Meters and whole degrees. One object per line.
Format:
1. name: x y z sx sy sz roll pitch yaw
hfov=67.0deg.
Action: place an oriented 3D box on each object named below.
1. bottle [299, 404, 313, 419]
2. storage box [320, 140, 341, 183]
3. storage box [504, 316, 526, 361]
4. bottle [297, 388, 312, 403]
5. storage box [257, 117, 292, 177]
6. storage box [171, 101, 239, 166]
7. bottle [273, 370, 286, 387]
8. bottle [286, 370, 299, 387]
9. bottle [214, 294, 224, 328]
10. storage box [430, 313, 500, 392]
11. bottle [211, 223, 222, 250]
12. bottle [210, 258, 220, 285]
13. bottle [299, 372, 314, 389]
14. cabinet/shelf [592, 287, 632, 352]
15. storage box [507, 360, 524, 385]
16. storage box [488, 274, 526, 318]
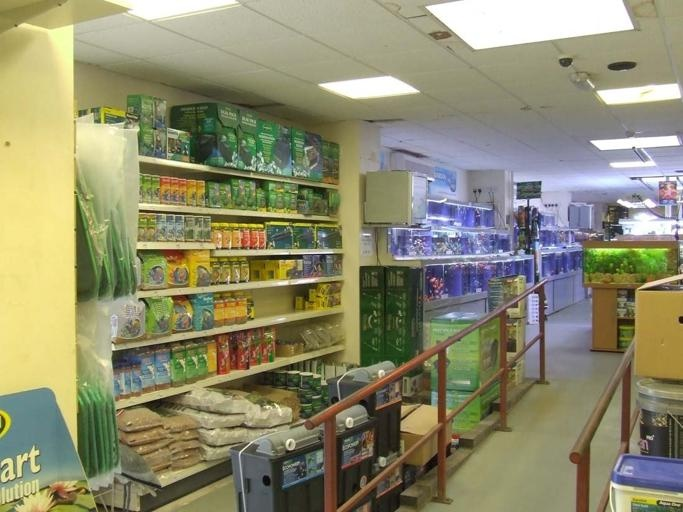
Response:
1. bottle: -0.440 1.878 6.256 0.168 0.178 0.166 0 1 -13
2. storage box: -0.055 -1.385 7.449 0.328 0.578 0.449 12 24 24
3. storage box: 2.285 1.140 6.887 0.358 0.480 0.343 2 -10 1
4. bottle: -0.444 1.695 6.276 0.169 0.167 0.166 0 1 -19
5. storage box: -0.775 -1.314 6.351 0.244 0.627 0.725 -6 18 -41
6. storage box: -1.491 -1.349 5.858 0.587 0.660 0.728 1 7 6
7. bottle: -0.778 1.566 6.668 0.187 0.197 0.187 4 7 23
8. bottle: -0.603 1.539 6.524 0.176 0.184 0.173 1 2 -41
9. bottle: -1.354 0.603 5.652 0.068 0.328 0.150 0 3 32
10. storage box: 1.377 1.114 5.799 0.601 0.804 0.858 -3 -5 25
11. bottle: -1.369 -0.219 5.627 0.086 0.280 0.154 0 3 30
12. bottle: -1.370 0.163 5.632 0.097 0.282 0.133 -2 3 -9
13. bottle: -0.425 1.511 6.314 0.174 0.178 0.173 3 4 13
14. cabinet/shelf: 4.631 1.051 8.812 0.686 1.137 0.360 -1 3 13
15. storage box: 2.248 1.485 6.641 0.102 0.319 0.449 0 3 33
16. storage box: 2.189 0.538 6.844 0.626 0.589 0.344 0 1 -21
